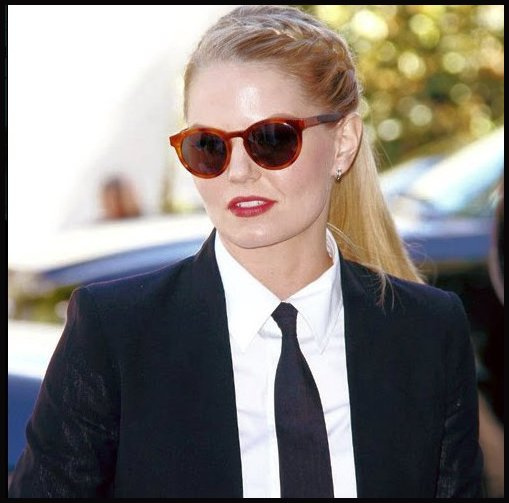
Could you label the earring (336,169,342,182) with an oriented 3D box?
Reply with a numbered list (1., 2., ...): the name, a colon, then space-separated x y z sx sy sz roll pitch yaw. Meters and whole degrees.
1. earring: 0.392 -0.342 3.915 0.014 0.047 0.031 6 1 -43
